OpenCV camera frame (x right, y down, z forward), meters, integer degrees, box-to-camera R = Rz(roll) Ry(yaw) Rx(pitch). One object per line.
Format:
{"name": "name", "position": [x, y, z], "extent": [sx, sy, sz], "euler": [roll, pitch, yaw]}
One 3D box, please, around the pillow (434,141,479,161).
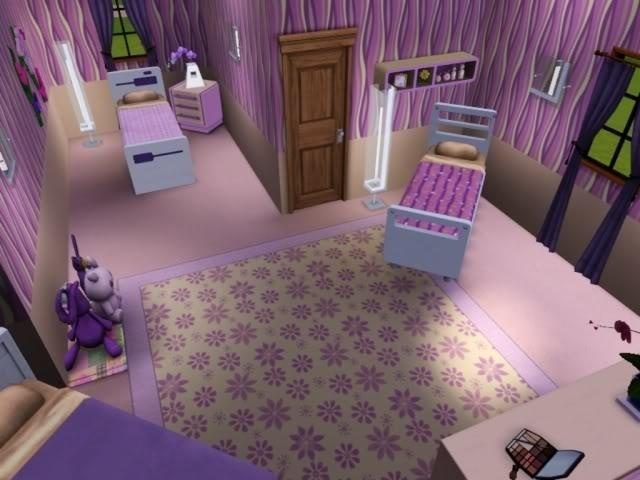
{"name": "pillow", "position": [1.905, -1.233, 5.941], "extent": [0.541, 0.252, 0.243], "euler": [11, 31, 15]}

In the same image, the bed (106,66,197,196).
{"name": "bed", "position": [-2.881, -1.963, 7.145], "extent": [0.939, 1.220, 2.111], "euler": [-16, 44, -21]}

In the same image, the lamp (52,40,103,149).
{"name": "lamp", "position": [-4.285, -2.544, 7.568], "extent": [0.341, 1.602, 0.630], "euler": [-20, 40, -24]}

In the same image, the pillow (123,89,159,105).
{"name": "pillow", "position": [-3.258, -2.580, 7.787], "extent": [0.464, 0.188, 0.347], "euler": [-11, 37, -19]}

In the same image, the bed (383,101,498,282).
{"name": "bed", "position": [1.726, -0.787, 5.996], "extent": [1.166, 1.550, 2.953], "euler": [13, 47, 17]}
